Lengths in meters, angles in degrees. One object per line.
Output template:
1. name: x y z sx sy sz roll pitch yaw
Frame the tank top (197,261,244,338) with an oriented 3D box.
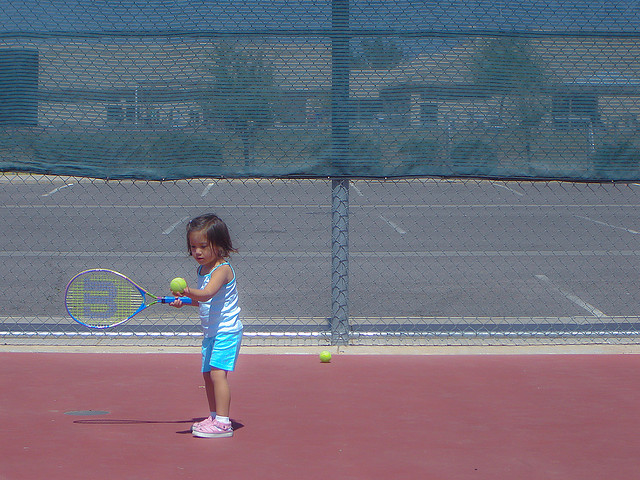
1. tank top: -0.772 0.410 7.561 0.415 0.498 0.321 -7 -2 41

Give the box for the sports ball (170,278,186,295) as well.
1. sports ball: -1.002 0.321 7.289 0.118 0.100 0.112 3 4 0

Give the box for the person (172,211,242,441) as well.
1. person: -0.804 0.599 7.419 0.455 1.549 0.591 1 12 -3

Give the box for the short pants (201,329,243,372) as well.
1. short pants: -0.714 0.795 7.434 0.275 0.289 0.187 0 11 -5

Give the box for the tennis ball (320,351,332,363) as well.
1. tennis ball: 0.034 0.959 8.607 0.092 0.079 0.084 -1 17 0

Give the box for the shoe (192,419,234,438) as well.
1. shoe: -0.769 1.340 7.371 0.284 0.105 0.112 3 -9 -1
